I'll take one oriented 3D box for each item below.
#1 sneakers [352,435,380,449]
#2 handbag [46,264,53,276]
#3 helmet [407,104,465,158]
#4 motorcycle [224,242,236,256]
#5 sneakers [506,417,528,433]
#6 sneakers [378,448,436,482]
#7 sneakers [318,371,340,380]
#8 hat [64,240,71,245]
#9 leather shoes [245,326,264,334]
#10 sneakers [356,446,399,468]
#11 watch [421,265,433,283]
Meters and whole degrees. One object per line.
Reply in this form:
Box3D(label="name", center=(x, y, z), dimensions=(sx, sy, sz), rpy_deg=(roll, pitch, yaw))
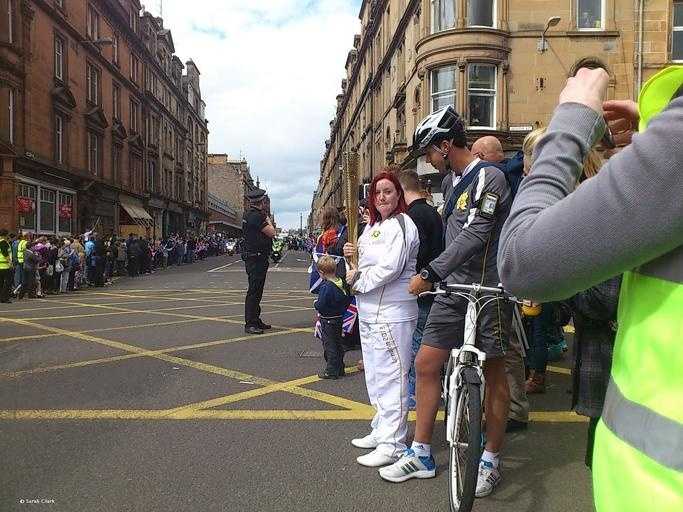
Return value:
Box3D(label="sneakers", center=(0.184, 1.434, 5.261), dimensions=(0.205, 0.085, 0.084), rpy_deg=(3, -4, 2))
Box3D(label="handbag", center=(-7.378, 0.362, 17.215), dimensions=(0.263, 0.271, 0.130), rpy_deg=(3, -3, -37))
Box3D(label="helmet", center=(0.654, -0.879, 4.787), dimensions=(0.400, 0.229, 0.293), rpy_deg=(-29, 8, 1))
Box3D(label="motorcycle", center=(-9.310, -0.573, 56.655), dimensions=(0.668, 0.828, 1.376), rpy_deg=(0, -8, -6))
Box3D(label="sneakers", center=(1.449, 1.406, 5.660), dimensions=(0.245, 0.083, 0.163), rpy_deg=(1, 1, 28))
Box3D(label="sneakers", center=(0.474, 1.464, 4.787), dimensions=(0.411, 0.218, 0.171), rpy_deg=(0, -6, -6))
Box3D(label="sneakers", center=(-0.140, 1.281, 7.268), dimensions=(0.157, 0.071, 0.091), rpy_deg=(6, -3, 5))
Box3D(label="hat", center=(-7.343, -0.335, 18.227), dimensions=(0.133, 0.081, 0.116), rpy_deg=(4, -2, 29))
Box3D(label="leather shoes", center=(-1.286, 1.089, 10.062), dimensions=(0.211, 0.094, 0.116), rpy_deg=(0, -2, 22))
Box3D(label="sneakers", center=(0.265, 1.434, 4.909), dimensions=(0.307, 0.139, 0.127), rpy_deg=(-1, -3, 9))
Box3D(label="watch", center=(0.560, 0.132, 4.474), dimensions=(0.056, 0.095, 0.086), rpy_deg=(-5, 4, 18))
